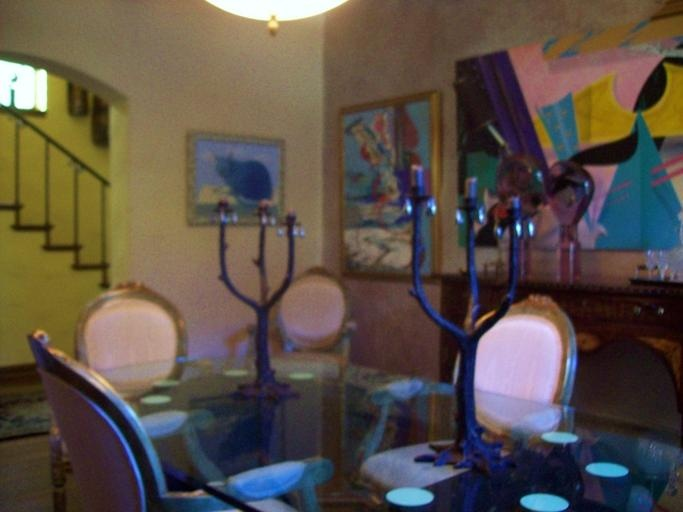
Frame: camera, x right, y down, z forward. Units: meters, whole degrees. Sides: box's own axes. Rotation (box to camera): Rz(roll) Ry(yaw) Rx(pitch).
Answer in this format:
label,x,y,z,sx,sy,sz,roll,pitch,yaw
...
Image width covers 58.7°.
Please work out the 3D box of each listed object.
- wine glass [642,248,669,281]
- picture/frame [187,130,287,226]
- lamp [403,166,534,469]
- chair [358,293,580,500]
label,x,y,z,sx,sy,sz,roll,pitch,yaw
wine glass,1.804,0.056,3.433,0.132,0.228,0.133,0,-4,-12
picture/frame,-0.798,-0.582,4.455,0.838,0.772,0.064,-1,5,-37
lamp,0.400,0.192,2.039,0.406,0.995,0.331,3,-15,-5
chair,0.558,0.570,2.456,0.905,0.851,0.618,0,1,-43
